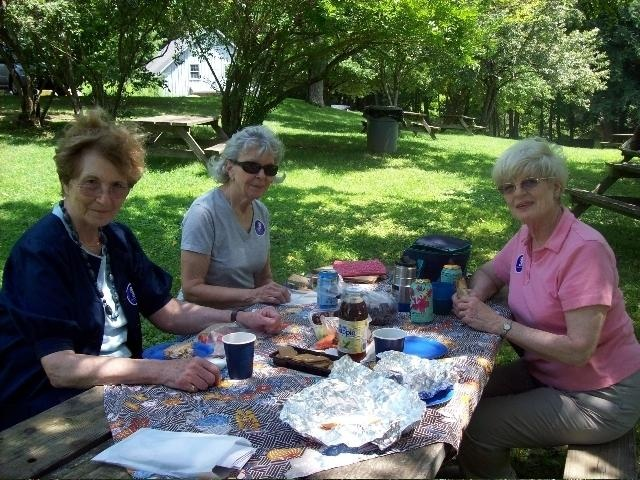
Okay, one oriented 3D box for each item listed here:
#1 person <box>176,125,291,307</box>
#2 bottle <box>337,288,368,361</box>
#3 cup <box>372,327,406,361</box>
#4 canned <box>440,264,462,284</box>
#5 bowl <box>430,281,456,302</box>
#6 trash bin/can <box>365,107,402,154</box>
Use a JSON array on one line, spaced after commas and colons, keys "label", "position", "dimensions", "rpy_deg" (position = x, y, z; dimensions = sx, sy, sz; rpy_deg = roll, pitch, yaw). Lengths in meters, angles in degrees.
[{"label": "person", "position": [-0.541, -0.155, 3.573], "dimensions": [0.751, 1.208, 0.797], "rpy_deg": [7, 7, 44]}, {"label": "bottle", "position": [0.146, 0.400, 2.458], "dimensions": [0.151, 0.305, 0.147], "rpy_deg": [1, 8, 0]}, {"label": "cup", "position": [0.317, 0.468, 2.330], "dimensions": [0.119, 0.098, 0.125], "rpy_deg": [-1, 5, 0]}, {"label": "canned", "position": [0.789, 0.210, 3.155], "dimensions": [0.118, 0.116, 0.120], "rpy_deg": [2, 0, -6]}, {"label": "bowl", "position": [0.709, 0.299, 3.008], "dimensions": [0.105, 0.118, 0.111], "rpy_deg": [0, 3, 0]}, {"label": "trash bin/can", "position": [1.804, -3.336, 15.865], "dimensions": [0.943, 1.587, 1.038], "rpy_deg": [11, 19, 28]}]
